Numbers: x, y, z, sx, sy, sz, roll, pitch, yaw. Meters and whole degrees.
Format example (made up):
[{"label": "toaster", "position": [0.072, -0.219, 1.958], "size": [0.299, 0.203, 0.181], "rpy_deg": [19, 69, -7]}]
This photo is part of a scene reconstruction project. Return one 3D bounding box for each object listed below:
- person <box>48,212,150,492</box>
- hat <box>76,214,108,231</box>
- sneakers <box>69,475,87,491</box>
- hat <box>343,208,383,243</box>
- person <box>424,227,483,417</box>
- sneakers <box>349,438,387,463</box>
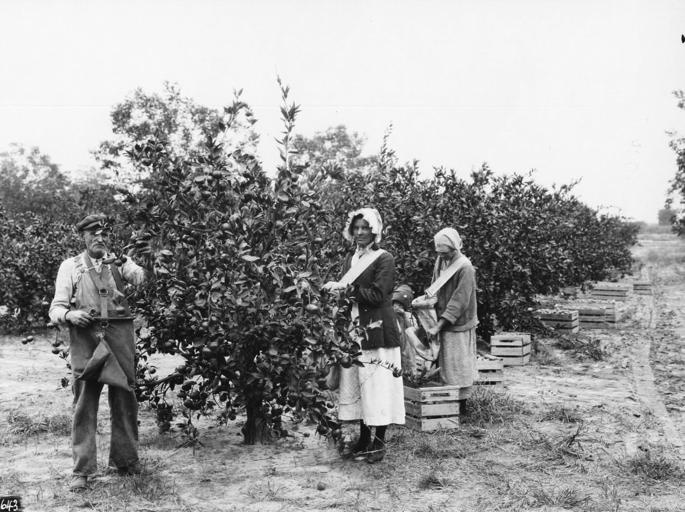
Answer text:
[{"label": "person", "position": [-2.322, 0.882, 5.907], "size": [0.776, 2.502, 0.438], "rpy_deg": [-1, 3, -27]}, {"label": "hat", "position": [-2.331, -0.314, 5.805], "size": [0.272, 0.085, 0.223], "rpy_deg": [-14, 8, 28]}, {"label": "sneakers", "position": [-2.445, 2.091, 5.774], "size": [0.149, 0.126, 0.114], "rpy_deg": [-1, 3, -22]}, {"label": "hat", "position": [0.217, -0.335, 6.672], "size": [0.396, 0.418, 0.374], "rpy_deg": [1, 29, 9]}, {"label": "person", "position": [1.343, 0.723, 7.756], "size": [0.584, 2.118, 0.456], "rpy_deg": [1, 3, 16]}, {"label": "sneakers", "position": [0.273, 2.050, 6.580], "size": [0.166, 0.212, 0.488], "rpy_deg": [-5, -25, 16]}]
